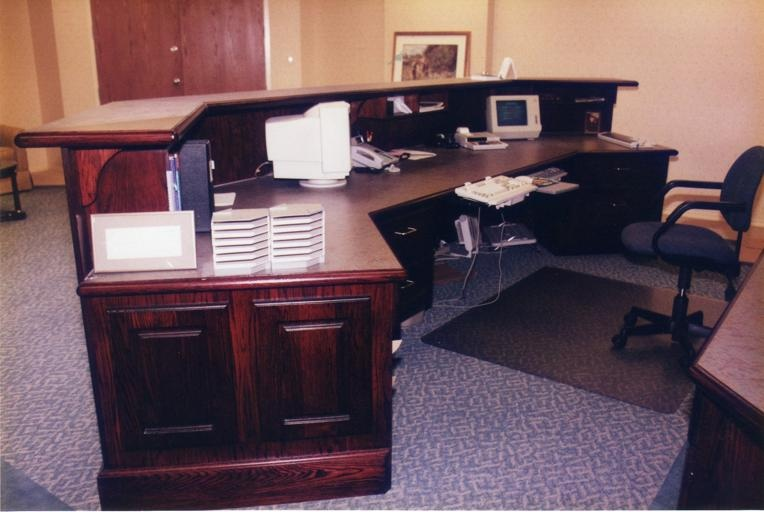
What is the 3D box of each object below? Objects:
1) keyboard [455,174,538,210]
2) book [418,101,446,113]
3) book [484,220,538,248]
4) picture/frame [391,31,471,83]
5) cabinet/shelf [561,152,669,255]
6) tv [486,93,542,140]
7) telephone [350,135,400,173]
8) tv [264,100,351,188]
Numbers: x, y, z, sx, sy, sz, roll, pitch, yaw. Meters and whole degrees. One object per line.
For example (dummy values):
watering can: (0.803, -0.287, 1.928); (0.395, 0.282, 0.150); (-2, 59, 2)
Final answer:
keyboard: (0.773, -0.443, 3.825); (0.282, 0.114, 0.483); (15, 24, 37)
book: (0.406, -1.234, 4.760); (0.187, 0.050, 0.130); (-4, 29, -4)
book: (1.202, -0.196, 5.435); (0.329, 0.052, 0.329); (-5, 26, -10)
picture/frame: (0.564, -2.397, 6.918); (1.066, 0.554, 0.112); (14, 28, 34)
cabinet/shelf: (1.999, -0.556, 5.395); (1.007, 1.114, 0.749); (0, 19, 5)
tv: (1.301, -1.293, 5.348); (0.277, 0.408, 0.513); (-22, 22, -39)
telephone: (-0.052, -0.710, 4.092); (0.328, 0.136, 0.231); (5, 33, -4)
tv: (-0.510, -0.743, 3.882); (0.729, 0.520, 0.721); (6, 18, 18)
